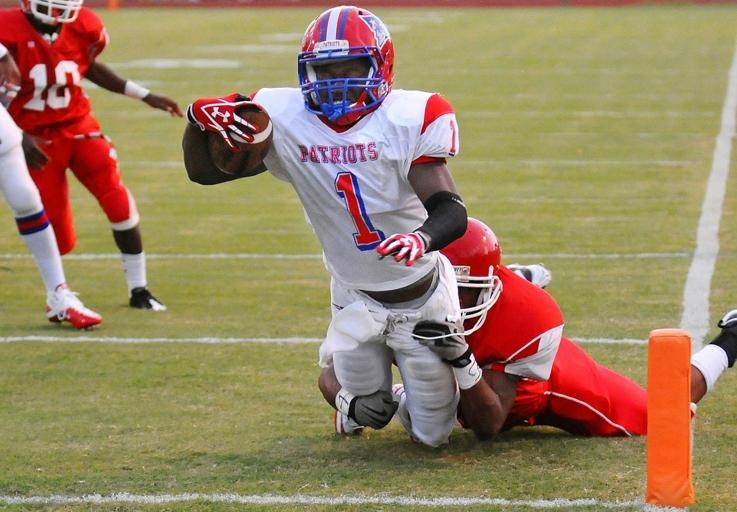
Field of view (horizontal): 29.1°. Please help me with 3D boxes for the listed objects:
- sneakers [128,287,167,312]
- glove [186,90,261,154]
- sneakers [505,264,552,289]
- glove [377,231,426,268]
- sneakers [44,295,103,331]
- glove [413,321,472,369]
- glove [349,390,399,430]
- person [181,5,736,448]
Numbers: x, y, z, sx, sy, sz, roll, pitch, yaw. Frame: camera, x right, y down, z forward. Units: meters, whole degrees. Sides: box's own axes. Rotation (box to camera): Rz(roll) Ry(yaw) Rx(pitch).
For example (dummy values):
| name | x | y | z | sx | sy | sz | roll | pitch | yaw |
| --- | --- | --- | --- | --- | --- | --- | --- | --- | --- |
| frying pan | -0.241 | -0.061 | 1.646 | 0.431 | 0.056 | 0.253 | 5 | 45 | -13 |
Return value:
| name | x | y | z | sx | sy | sz | roll | pitch | yaw |
| --- | --- | --- | --- | --- | --- | --- | --- | --- | --- |
| sneakers | -1.294 | 0.240 | 8.231 | 0.240 | 0.078 | 0.116 | 3 | 4 | 32 |
| glove | -0.623 | -0.608 | 6.174 | 0.330 | 0.202 | 0.075 | 17 | -13 | -5 |
| sneakers | 0.789 | 0.079 | 6.957 | 0.194 | 0.069 | 0.117 | 26 | 6 | -2 |
| glove | 0.132 | -0.037 | 5.962 | 0.159 | 0.121 | 0.180 | 4 | 15 | 26 |
| sneakers | -1.618 | 0.296 | 7.818 | 0.400 | 0.153 | 0.144 | 5 | 20 | 28 |
| glove | 0.332 | 0.372 | 6.319 | 0.287 | 0.167 | 0.125 | 33 | 1 | 4 |
| glove | 0.012 | 0.687 | 6.602 | 0.234 | 0.135 | 0.106 | 8 | 13 | 6 |
| person | 0.130 | -0.111 | 6.444 | 1.784 | 2.021 | 0.796 | 0 | 16 | 15 |
